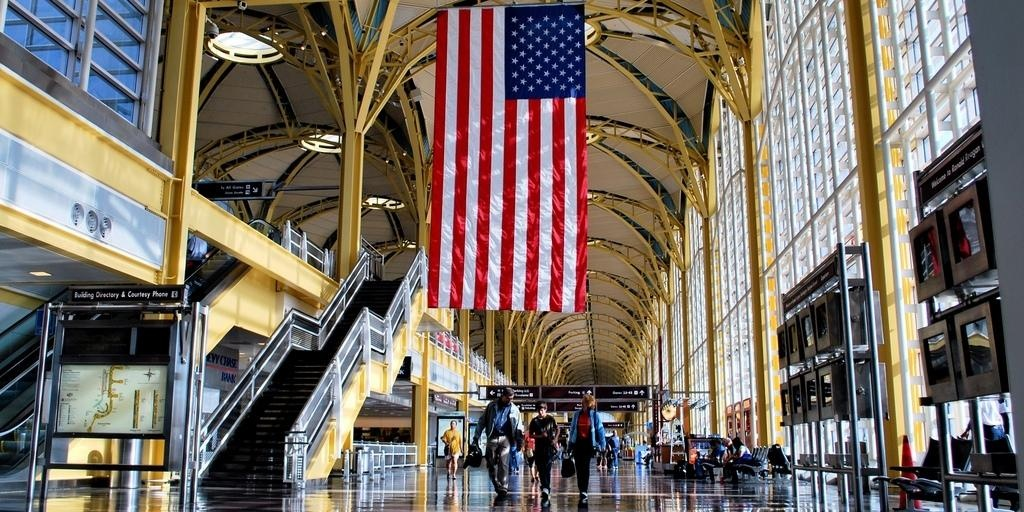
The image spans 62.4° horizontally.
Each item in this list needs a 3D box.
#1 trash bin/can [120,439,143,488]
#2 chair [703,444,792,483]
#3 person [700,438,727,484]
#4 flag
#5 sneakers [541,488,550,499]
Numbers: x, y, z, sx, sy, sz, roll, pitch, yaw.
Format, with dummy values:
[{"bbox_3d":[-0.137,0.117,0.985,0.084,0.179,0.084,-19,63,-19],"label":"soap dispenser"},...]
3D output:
[{"bbox_3d":[-10.560,5.726,23.581,0.519,1.669,0.403,6,18,-17],"label":"trash bin/can"},{"bbox_3d":[8.051,7.104,28.855,2.176,1.357,3.413,0,-23,-2],"label":"chair"},{"bbox_3d":[7.347,7.550,30.888,1.004,1.754,0.925,4,-27,22],"label":"person"},{"bbox_3d":[-0.082,-2.786,23.096,4.095,8.144,3.067,0,-23,-2],"label":"flag"},{"bbox_3d":[0.822,5.920,21.025,0.253,0.182,0.242,11,-8,-15],"label":"sneakers"}]
